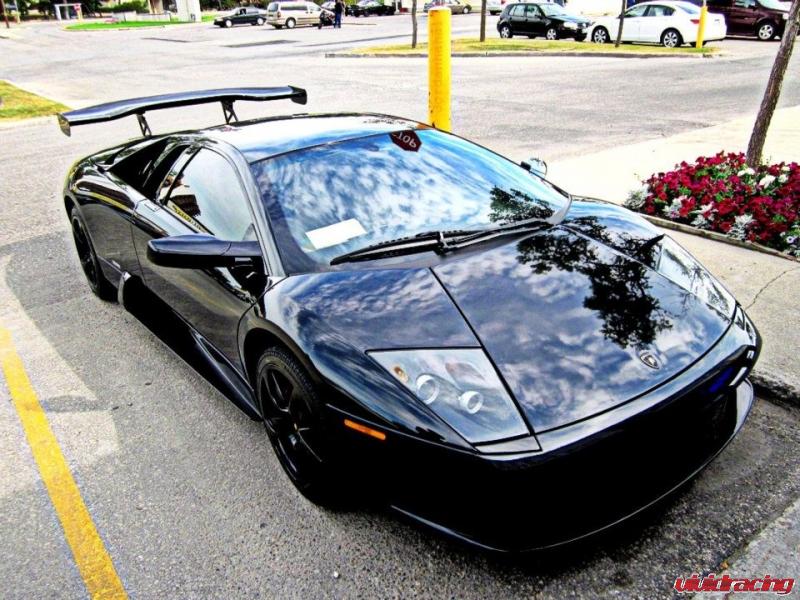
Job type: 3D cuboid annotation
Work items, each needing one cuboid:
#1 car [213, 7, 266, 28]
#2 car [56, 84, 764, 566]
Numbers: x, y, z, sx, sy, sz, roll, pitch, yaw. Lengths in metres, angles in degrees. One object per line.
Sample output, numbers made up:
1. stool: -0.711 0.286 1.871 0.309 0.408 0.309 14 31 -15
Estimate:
1. car: -12.984 -23.231 47.065 2.312 1.777 3.650 18 28 35
2. car: -0.416 -0.140 3.443 2.336 1.000 3.956 -27 40 -35
